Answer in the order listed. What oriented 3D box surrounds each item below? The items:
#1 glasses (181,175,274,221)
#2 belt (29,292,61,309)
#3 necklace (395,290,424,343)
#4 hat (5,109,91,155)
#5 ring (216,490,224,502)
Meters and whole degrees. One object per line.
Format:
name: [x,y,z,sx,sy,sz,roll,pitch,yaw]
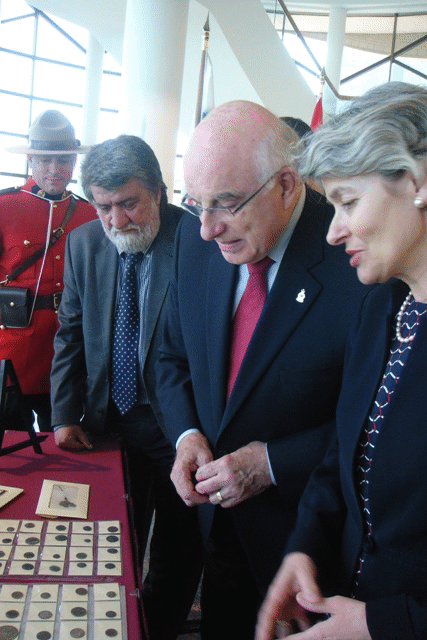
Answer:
glasses: [0.016,-0.313,1.250,0.140,0.038,0.137,-46,33,-15]
belt: [-0.854,-0.099,2.556,0.093,0.063,0.124,0,5,-19]
necklace: [0.353,-0.008,0.894,0.048,0.080,0.016,2,-14,9]
hat: [-0.925,-1.064,2.877,0.391,0.150,0.383,-9,33,-27]
ring: [0.015,0.437,1.255,0.025,0.025,0.019,-3,-1,-2]
